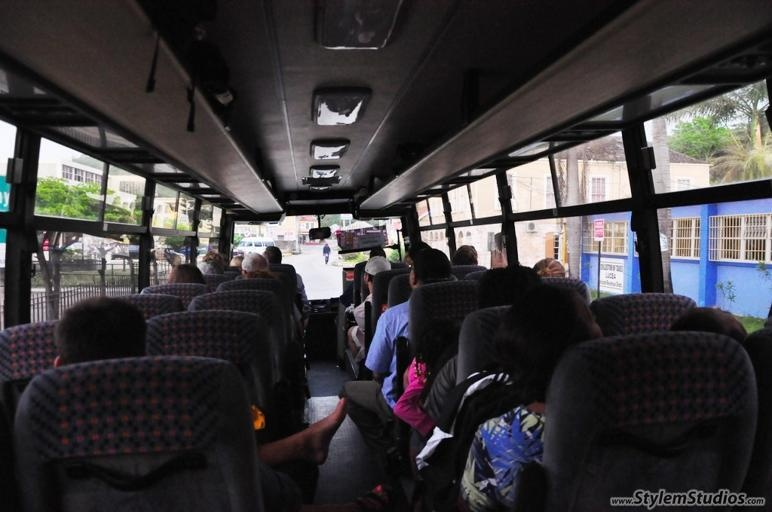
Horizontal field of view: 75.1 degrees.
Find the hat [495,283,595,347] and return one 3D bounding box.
[{"bbox_3d":[0.645,0.235,2.108,0.330,0.315,0.235,-2,-15,-26],"label":"hat"}]

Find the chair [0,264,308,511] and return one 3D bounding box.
[{"bbox_3d":[-0.936,0.674,2.084,0.961,0.996,0.682,0,-2,-20],"label":"chair"}]

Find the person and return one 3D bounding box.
[{"bbox_3d":[-0.361,0.685,2.876,2.295,1.286,0.795,-3,-27,-13],"label":"person"}]

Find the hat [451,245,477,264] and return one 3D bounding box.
[{"bbox_3d":[1.097,-0.024,6.967,0.247,0.288,0.315,2,14,-4],"label":"hat"}]
